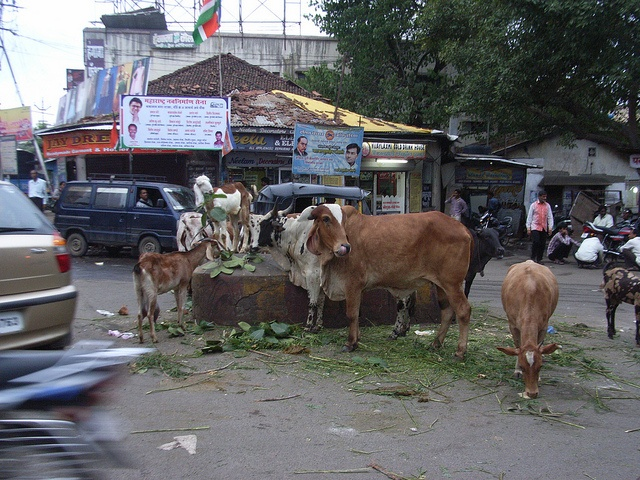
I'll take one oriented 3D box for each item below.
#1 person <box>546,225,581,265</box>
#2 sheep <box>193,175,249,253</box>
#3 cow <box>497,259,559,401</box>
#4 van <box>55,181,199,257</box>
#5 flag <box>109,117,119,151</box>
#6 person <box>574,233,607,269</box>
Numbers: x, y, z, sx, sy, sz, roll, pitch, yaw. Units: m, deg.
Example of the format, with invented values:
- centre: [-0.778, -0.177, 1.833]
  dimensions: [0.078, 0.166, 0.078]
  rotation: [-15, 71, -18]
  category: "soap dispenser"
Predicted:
- centre: [7.076, 0.003, 16.963]
  dimensions: [1.054, 1.432, 0.723]
  rotation: [-1, 11, 10]
  category: "person"
- centre: [-1.574, -0.402, 9.890]
  dimensions: [0.859, 1.279, 0.963]
  rotation: [-10, 16, -40]
  category: "sheep"
- centre: [2.467, 0.980, 7.052]
  dimensions: [0.657, 1.231, 1.395]
  rotation: [5, 13, 19]
  category: "cow"
- centre: [-5.227, -0.721, 15.874]
  dimensions: [3.391, 1.992, 2.109]
  rotation: [0, 2, 12]
  category: "van"
- centre: [-7.340, -3.738, 21.024]
  dimensions: [0.271, 0.992, 1.104]
  rotation: [-5, 13, -22]
  category: "flag"
- centre: [7.097, 0.289, 15.537]
  dimensions: [0.761, 0.799, 0.570]
  rotation: [-9, 15, -38]
  category: "person"
